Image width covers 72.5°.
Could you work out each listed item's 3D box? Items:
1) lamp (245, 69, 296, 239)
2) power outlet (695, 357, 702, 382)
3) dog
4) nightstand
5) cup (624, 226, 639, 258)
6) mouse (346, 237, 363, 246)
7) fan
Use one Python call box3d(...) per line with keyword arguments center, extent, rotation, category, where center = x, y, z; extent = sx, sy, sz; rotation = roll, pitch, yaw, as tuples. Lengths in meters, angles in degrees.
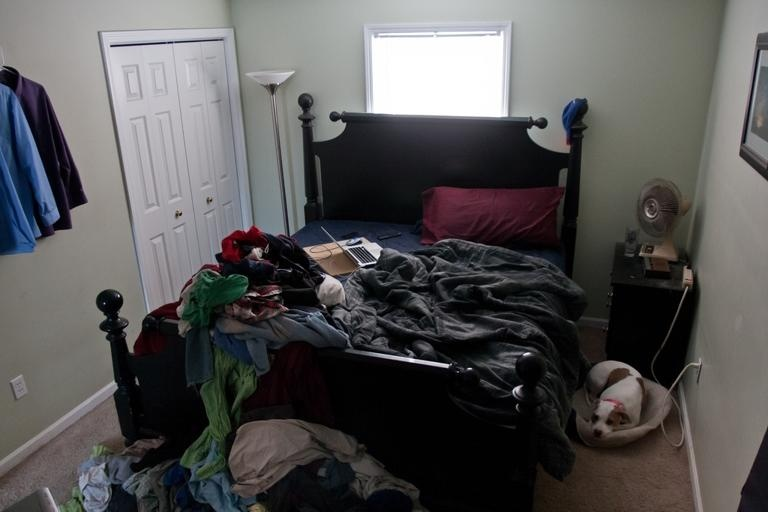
box3d(center=(-0.933, -0.846, 4.706), extent=(0.426, 1.556, 0.423), rotation=(-5, 18, -8), category="lamp")
box3d(center=(1.938, 0.701, 3.218), extent=(0.019, 0.161, 0.132), rotation=(11, 24, 28), category="power outlet")
box3d(center=(1.558, 0.943, 3.533), extent=(0.377, 0.272, 0.725), rotation=(10, 24, 23), category="dog")
box3d(center=(2.080, 0.476, 4.035), extent=(0.654, 1.001, 1.054), rotation=(9, 24, 20), category="nightstand")
box3d(center=(1.871, -0.103, 3.954), extent=(0.105, 0.214, 0.054), rotation=(3, 2, 22), category="cup")
box3d(center=(-0.224, -0.110, 3.951), extent=(0.079, 0.029, 0.062), rotation=(-8, 26, -16), category="mouse")
box3d(center=(2.036, -0.263, 3.848), extent=(0.328, 0.586, 0.375), rotation=(-8, 9, -28), category="fan")
